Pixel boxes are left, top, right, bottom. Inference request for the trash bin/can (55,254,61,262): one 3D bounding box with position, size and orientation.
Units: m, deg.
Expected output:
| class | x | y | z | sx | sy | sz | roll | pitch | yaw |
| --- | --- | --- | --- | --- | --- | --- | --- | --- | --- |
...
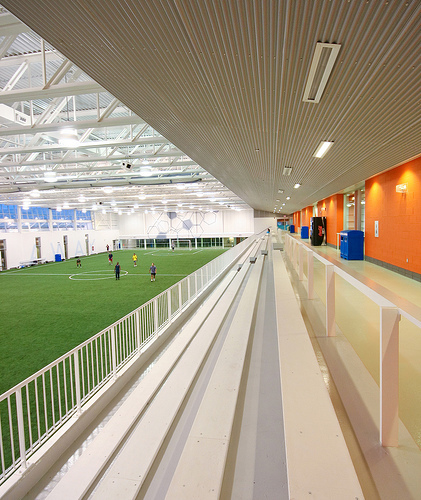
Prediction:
| class | x | y | z | sx | sy | sz | roll | pitch | yaw |
| --- | --- | --- | --- | --- | --- | --- | --- | --- | --- |
| trash bin/can | -16.338 | 0.844 | 33.301 | 0.526 | 0.676 | 0.603 | 1 | 8 | -11 |
